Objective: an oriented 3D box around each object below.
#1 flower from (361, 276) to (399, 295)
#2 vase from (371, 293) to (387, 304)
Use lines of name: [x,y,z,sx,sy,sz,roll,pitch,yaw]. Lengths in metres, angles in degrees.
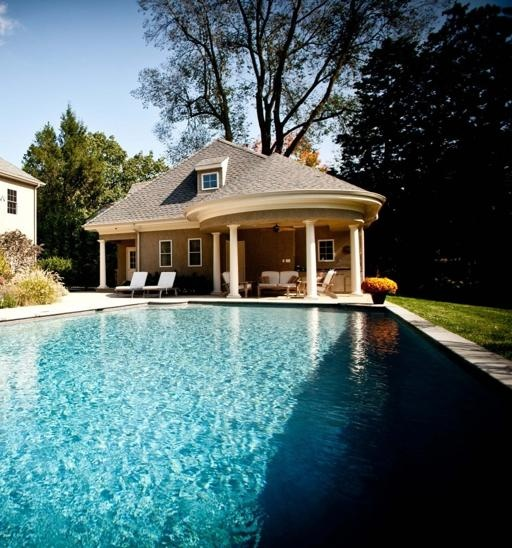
flower: [3.613,0.351,12.740,0.701,0.376,0.611,0,-4,30]
vase: [3.592,0.709,12.827,0.358,0.251,0.342,0,-6,-1]
